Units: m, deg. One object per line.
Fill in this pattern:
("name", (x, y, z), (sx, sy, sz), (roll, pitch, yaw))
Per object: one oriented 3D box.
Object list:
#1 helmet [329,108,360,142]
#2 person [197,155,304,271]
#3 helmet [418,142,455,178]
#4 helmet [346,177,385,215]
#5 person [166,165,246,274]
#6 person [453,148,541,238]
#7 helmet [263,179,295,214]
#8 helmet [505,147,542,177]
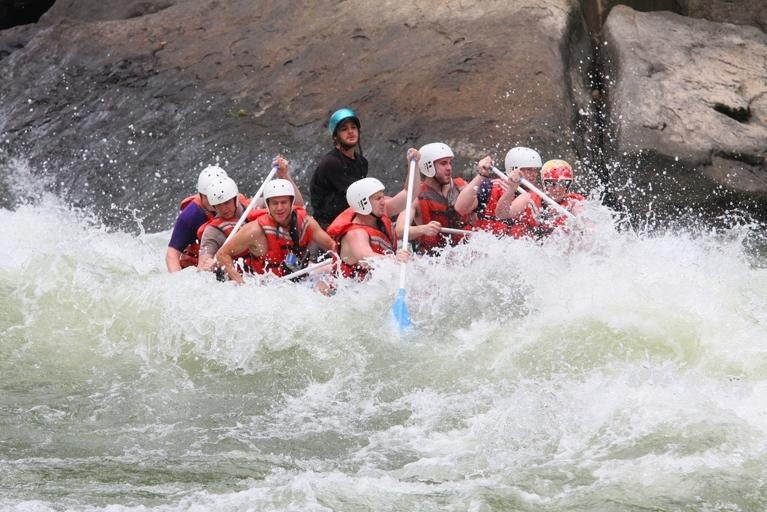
("helmet", (-0.566, -1.882, 13.727), (0.372, 0.342, 0.241), (-22, 36, -14))
("person", (-1.746, -0.519, 13.039), (0.748, 2.066, 1.440), (5, 14, 25))
("helmet", (0.668, -1.337, 13.285), (0.512, 0.384, 0.370), (0, 9, 12))
("helmet", (-0.210, -0.788, 12.461), (0.557, 0.422, 0.395), (-5, 13, 29))
("person", (-2.378, -0.460, 13.300), (0.592, 1.551, 0.992), (28, 44, 24))
("person", (1.529, -0.731, 13.647), (0.750, 1.943, 1.151), (15, 54, 0))
("helmet", (-1.330, -0.789, 12.648), (0.332, 0.364, 0.408), (-6, -11, -8))
("helmet", (1.889, -1.278, 13.219), (0.420, 0.305, 0.331), (23, 13, 23))
